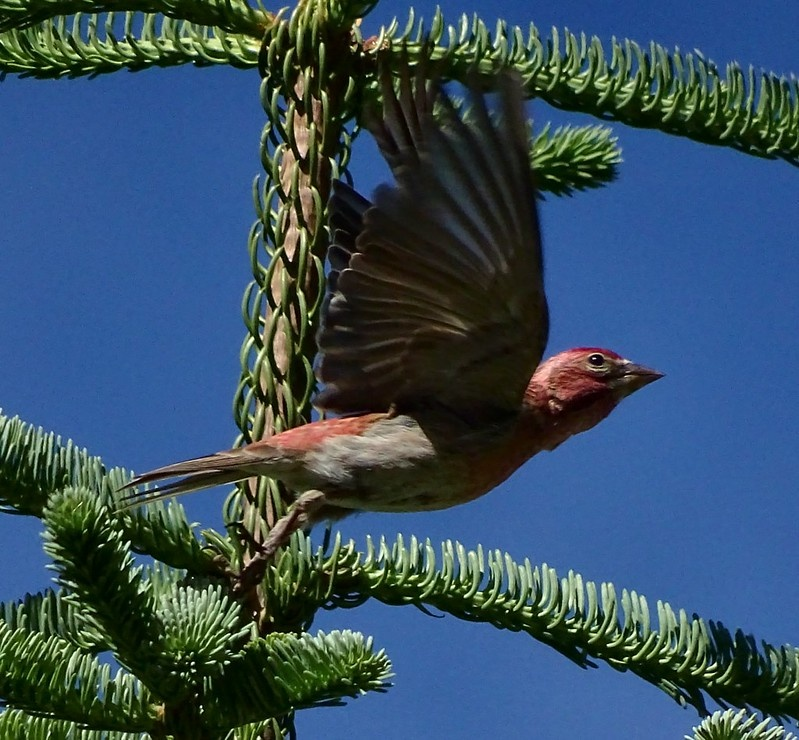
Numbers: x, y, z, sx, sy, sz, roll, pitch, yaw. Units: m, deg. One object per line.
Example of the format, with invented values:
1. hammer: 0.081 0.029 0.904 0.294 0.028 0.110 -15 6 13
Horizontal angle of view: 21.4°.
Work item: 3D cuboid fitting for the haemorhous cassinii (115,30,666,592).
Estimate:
1. haemorhous cassinii: 0.015 -0.080 3.925 0.797 0.787 1.168 -1 -19 5
